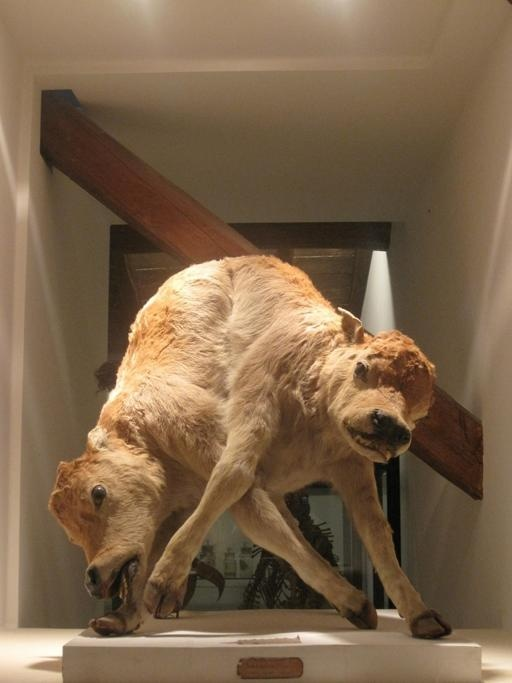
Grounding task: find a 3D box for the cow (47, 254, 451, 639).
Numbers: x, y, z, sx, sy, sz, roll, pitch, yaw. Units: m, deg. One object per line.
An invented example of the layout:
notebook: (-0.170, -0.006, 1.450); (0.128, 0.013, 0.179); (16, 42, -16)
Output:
cow: (-0.129, 0.411, 2.975); (1.421, 1.199, 0.922); (-8, -19, 6)
